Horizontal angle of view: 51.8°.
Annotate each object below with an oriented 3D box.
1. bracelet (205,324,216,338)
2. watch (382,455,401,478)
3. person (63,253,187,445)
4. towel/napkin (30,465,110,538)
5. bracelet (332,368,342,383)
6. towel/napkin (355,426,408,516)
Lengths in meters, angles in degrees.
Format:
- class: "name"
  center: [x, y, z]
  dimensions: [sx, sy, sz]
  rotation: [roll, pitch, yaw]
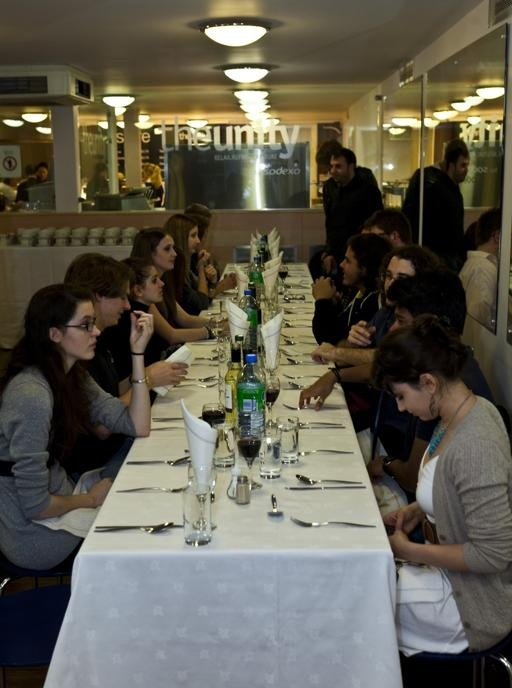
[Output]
- class: "bracelet"
  center: [-0.274, -0.091, 3.212]
  dimensions: [0.040, 0.102, 0.077]
  rotation: [-6, -6, 6]
- class: "watch"
  center: [0.454, 0.415, 1.791]
  dimensions: [0.045, 0.066, 0.070]
  rotation: [-2, 9, -8]
- class: "person"
  center: [-0.593, 0.130, 2.328]
  dimensions: [0.558, 1.005, 0.421]
  rotation: [4, 9, -13]
- class: "towel/napkin"
  center: [-0.495, 0.455, 1.507]
  dimensions: [0.181, 0.056, 0.183]
  rotation: [2, 26, 11]
- class: "bracelet"
  center: [0.330, 0.129, 2.118]
  dimensions: [0.031, 0.037, 0.092]
  rotation: [2, 21, 2]
- class: "towel/napkin"
  center: [0.434, 0.451, 1.758]
  dimensions: [0.055, 0.171, 0.177]
  rotation: [-21, -5, -3]
